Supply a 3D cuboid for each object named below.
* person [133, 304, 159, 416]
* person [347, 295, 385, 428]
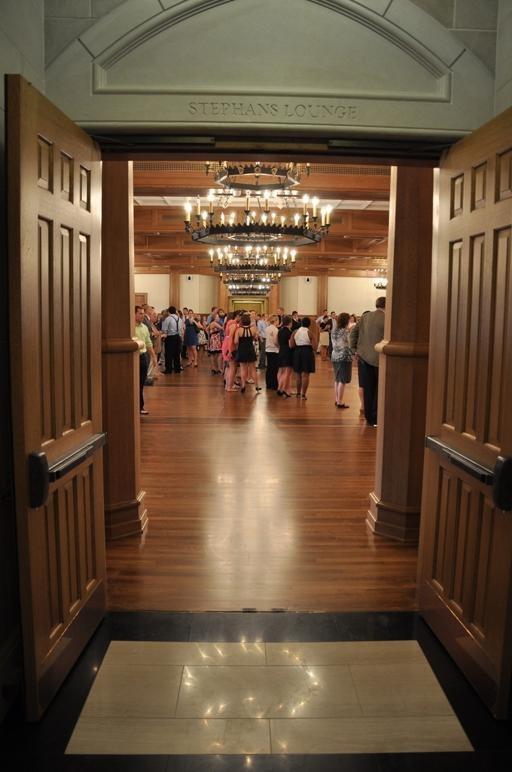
[{"bbox_3d":[-1.460,-0.284,6.764,0.258,1.306,0.332,-7,-7,28],"label":"person"},{"bbox_3d":[1.320,-0.159,6.408,0.358,1.585,1.675,1,4,11],"label":"person"}]
